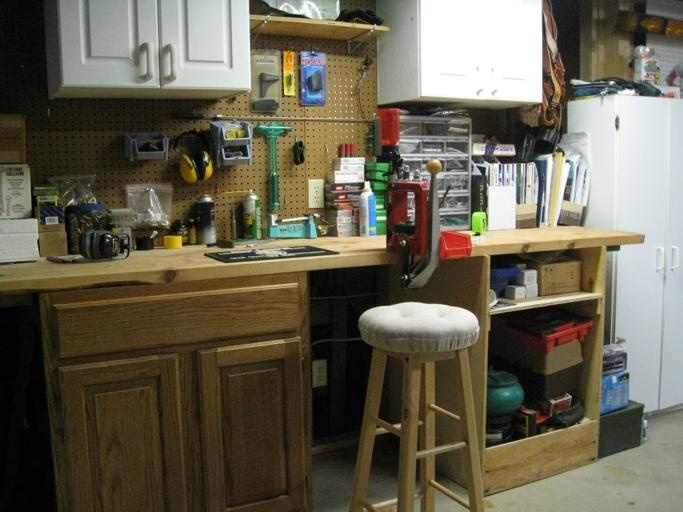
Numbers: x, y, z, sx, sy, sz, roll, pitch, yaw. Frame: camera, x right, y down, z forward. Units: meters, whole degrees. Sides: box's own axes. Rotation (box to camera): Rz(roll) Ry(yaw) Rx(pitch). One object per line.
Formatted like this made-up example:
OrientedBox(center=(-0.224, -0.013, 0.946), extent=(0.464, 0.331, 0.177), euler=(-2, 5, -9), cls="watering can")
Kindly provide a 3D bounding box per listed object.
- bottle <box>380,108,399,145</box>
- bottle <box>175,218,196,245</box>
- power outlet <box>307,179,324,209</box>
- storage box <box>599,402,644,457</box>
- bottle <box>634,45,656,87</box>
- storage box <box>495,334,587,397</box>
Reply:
OrientedBox(center=(0.266, -0.717, 3.469), extent=(0.115, 0.200, 0.154), euler=(-3, 11, 3), cls="bottle")
OrientedBox(center=(-0.845, -0.128, 3.323), extent=(0.146, 0.126, 0.094), euler=(-3, 11, 6), cls="bottle")
OrientedBox(center=(-0.153, -0.359, 3.616), extent=(0.109, 0.175, 0.021), euler=(-10, 12, -27), cls="power outlet")
OrientedBox(center=(1.600, 1.003, 3.598), extent=(0.297, 0.202, 0.159), euler=(-5, 6, -26), cls="storage box")
OrientedBox(center=(2.194, -1.375, 4.488), extent=(0.227, 0.266, 0.084), euler=(-9, 12, -25), cls="bottle")
OrientedBox(center=(1.119, 0.477, 3.533), extent=(0.328, 0.328, 0.464), euler=(-8, 11, -24), cls="storage box")
